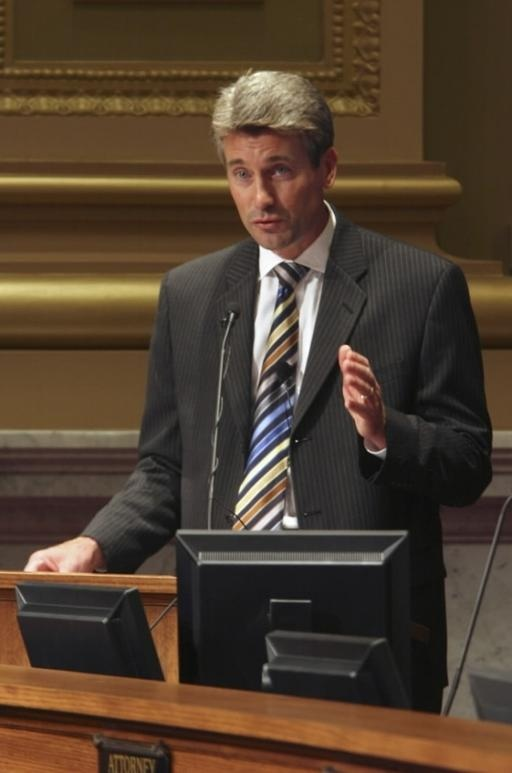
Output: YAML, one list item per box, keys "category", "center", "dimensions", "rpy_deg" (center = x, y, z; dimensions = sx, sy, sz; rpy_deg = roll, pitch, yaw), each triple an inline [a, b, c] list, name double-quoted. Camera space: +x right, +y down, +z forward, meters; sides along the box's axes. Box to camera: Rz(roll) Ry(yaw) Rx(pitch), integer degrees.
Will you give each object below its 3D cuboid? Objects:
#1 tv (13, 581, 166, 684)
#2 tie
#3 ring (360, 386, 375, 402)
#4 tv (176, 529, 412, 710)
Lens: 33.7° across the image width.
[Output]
- category: "tv"
  center: [-0.195, 0.281, 0.963]
  dimensions: [0.186, 0.114, 0.060]
  rpy_deg: [-7, 0, 36]
- category: "tie"
  center: [0.047, 0.009, 1.471]
  dimensions: [0.080, 0.468, 0.051]
  rpy_deg: [6, -12, 31]
- category: "ring"
  center: [0.151, 0.008, 1.132]
  dimensions: [0.017, 0.021, 0.008]
  rpy_deg: [-3, 8, -23]
- category: "tv"
  center: [0.048, 0.246, 0.883]
  dimensions: [0.209, 0.191, 0.064]
  rpy_deg: [-1, -5, 12]
